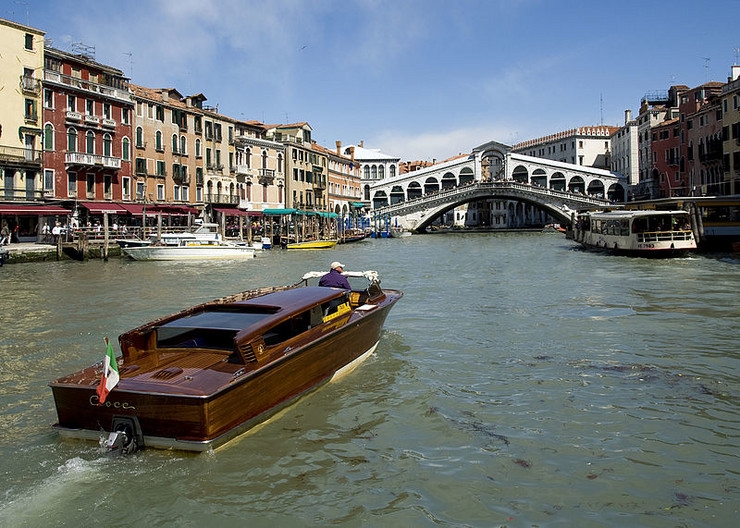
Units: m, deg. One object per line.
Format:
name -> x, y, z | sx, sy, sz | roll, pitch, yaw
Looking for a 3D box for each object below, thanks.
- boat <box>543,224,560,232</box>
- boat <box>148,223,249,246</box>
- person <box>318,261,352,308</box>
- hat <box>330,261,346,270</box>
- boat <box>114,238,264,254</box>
boat -> 30.368, -6.315, 99.305 | 2.484, 1.077, 3.876 | -3, 2, 17
boat -> -12.293, -1.961, 42.072 | 9.801, 1.987, 2.342 | -2, 6, -20
person -> -0.770, 0.451, 13.508 | 0.748, 0.965, 0.655 | 10, 21, 18
hat -> -0.710, 0.032, 13.754 | 0.382, 0.127, 0.479 | 3, 5, 32
boat -> -13.259, -1.295, 41.955 | 10.664, 0.940, 1.759 | 0, 8, -12
